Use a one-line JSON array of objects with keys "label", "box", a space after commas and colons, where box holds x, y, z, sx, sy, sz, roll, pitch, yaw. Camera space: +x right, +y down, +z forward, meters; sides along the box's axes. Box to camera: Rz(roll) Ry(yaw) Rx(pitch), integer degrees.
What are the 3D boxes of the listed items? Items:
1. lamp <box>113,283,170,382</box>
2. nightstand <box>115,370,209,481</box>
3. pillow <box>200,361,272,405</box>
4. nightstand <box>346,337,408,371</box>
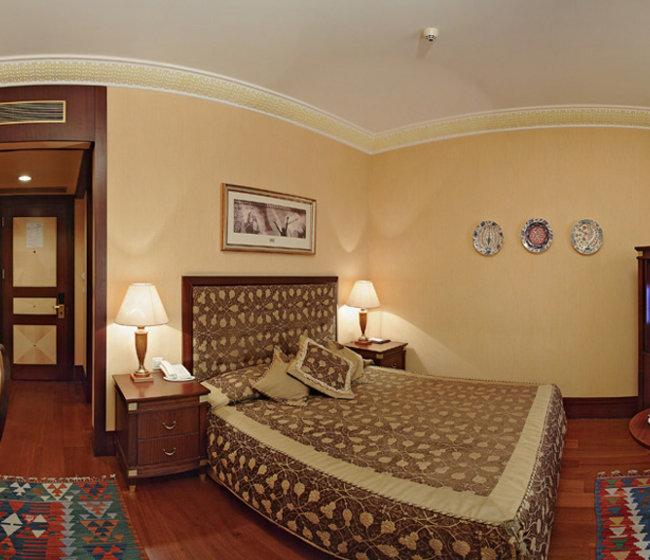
[{"label": "lamp", "box": [-1.461, 0.410, 4.275, 0.402, 0.759, 0.402, -1, 4, -34]}, {"label": "nightstand", "box": [-1.310, 1.134, 4.225, 0.623, 0.662, 0.793, -1, 4, -33]}, {"label": "pillow", "box": [-0.756, 0.840, 4.305, 0.381, 0.104, 0.234, -8, 21, -33]}, {"label": "nightstand", "box": [0.535, 0.755, 5.838, 0.428, 0.429, 0.433, 3, 4, 38]}]
